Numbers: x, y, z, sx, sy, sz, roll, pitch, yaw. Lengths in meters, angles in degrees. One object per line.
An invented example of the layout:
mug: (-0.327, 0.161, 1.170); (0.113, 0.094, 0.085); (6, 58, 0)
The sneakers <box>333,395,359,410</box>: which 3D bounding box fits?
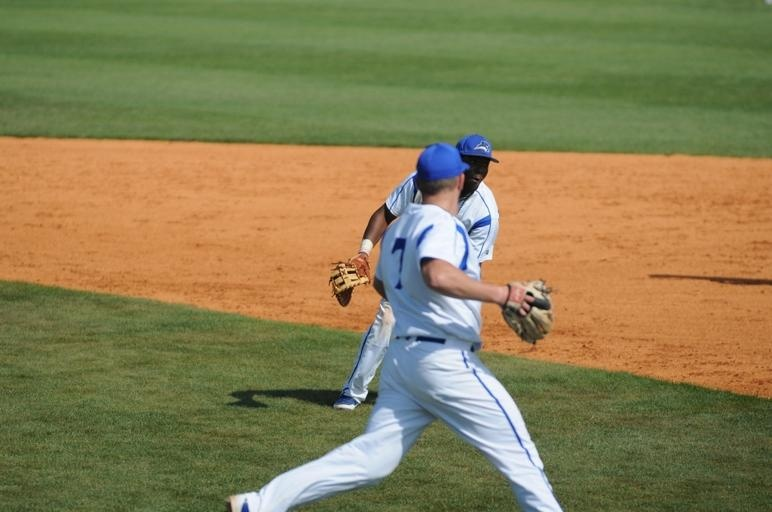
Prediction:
sneakers: (-0.722, 2.585, 25.403); (0.422, 0.162, 0.211); (0, 14, -4)
